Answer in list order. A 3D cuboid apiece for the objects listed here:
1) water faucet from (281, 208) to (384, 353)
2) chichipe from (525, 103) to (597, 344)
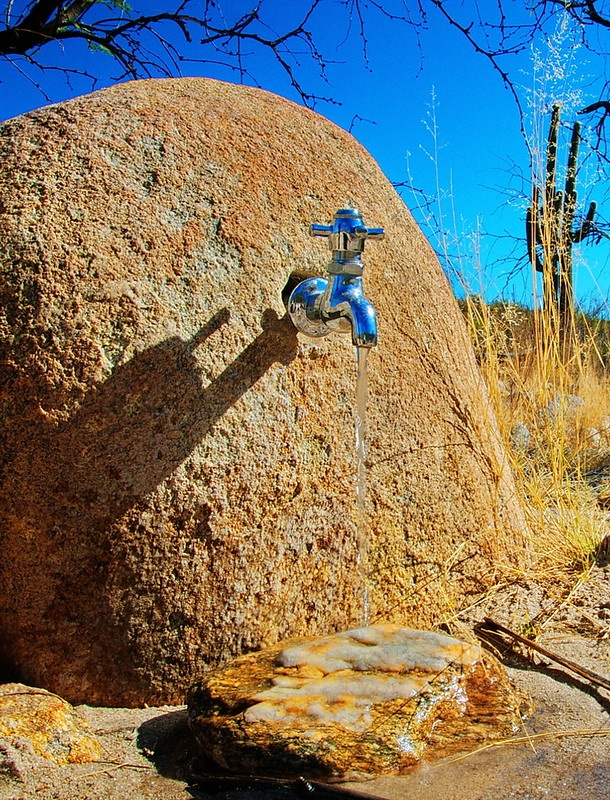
[{"bbox_3d":[0.064,-0.294,3.193,0.193,0.408,0.357,11,-22,-14],"label":"water faucet"},{"bbox_3d":[1.012,-0.721,4.755,0.331,0.895,0.219,10,-13,11],"label":"chichipe"}]
